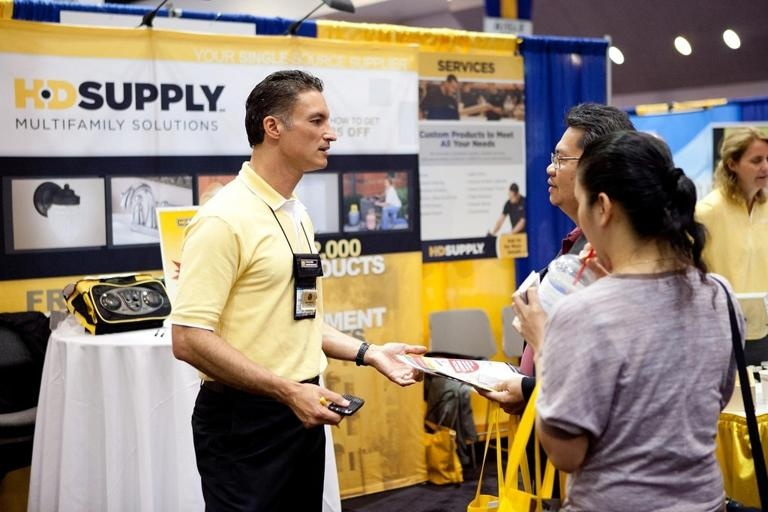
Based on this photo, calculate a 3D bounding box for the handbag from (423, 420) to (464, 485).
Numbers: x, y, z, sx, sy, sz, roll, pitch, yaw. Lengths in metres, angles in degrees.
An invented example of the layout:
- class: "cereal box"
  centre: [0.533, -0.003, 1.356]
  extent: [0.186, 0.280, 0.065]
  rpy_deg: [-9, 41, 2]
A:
- class: "handbag"
  centre: [0.398, 1.426, 4.818]
  extent: [0.176, 0.314, 0.323]
  rpy_deg: [11, -21, -29]

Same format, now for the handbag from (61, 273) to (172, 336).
- class: "handbag"
  centre: [-1.527, 0.263, 3.953]
  extent: [0.587, 0.252, 0.533]
  rpy_deg: [9, 11, 29]

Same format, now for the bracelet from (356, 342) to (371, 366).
- class: "bracelet"
  centre: [-0.091, 0.422, 2.987]
  extent: [0.055, 0.092, 0.092]
  rpy_deg: [15, 32, 10]

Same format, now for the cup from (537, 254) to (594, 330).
- class: "cup"
  centre: [0.638, 0.132, 2.405]
  extent: [0.156, 0.246, 0.152]
  rpy_deg: [14, 25, -7]

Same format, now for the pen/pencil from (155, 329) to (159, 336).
- class: "pen/pencil"
  centre: [-1.203, 0.414, 3.686]
  extent: [0.029, 0.030, 0.009]
  rpy_deg: [19, -3, 21]
